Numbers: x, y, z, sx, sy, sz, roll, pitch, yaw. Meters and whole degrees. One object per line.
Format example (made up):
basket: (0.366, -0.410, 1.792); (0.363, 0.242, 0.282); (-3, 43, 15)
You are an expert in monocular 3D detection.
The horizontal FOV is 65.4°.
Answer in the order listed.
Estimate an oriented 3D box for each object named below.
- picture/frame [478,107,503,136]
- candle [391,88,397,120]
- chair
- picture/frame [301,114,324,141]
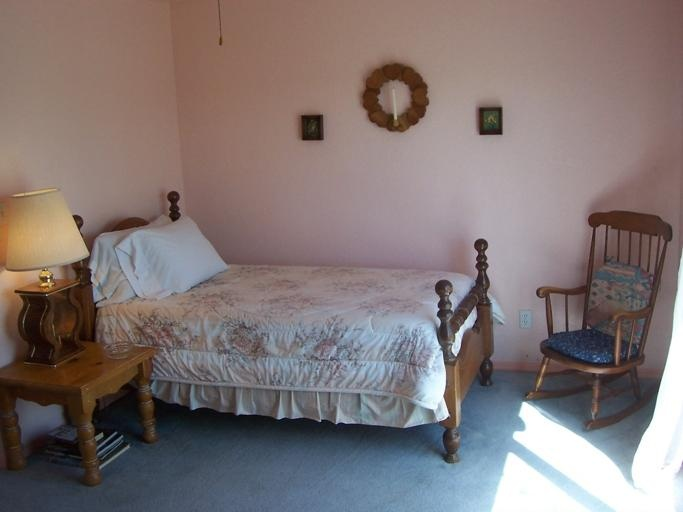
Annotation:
picture/frame: (1.119, -1.006, 3.947); (0.186, 0.248, 0.016); (1, 13, 13)
candle: (0.412, -1.162, 4.088); (0.047, 0.253, 0.071); (0, 11, 5)
chair: (1.739, 0.412, 3.548); (0.685, 1.345, 0.822); (-2, 11, 2)
picture/frame: (-0.229, -1.022, 4.247); (0.178, 0.203, 0.066); (-2, 11, -4)
